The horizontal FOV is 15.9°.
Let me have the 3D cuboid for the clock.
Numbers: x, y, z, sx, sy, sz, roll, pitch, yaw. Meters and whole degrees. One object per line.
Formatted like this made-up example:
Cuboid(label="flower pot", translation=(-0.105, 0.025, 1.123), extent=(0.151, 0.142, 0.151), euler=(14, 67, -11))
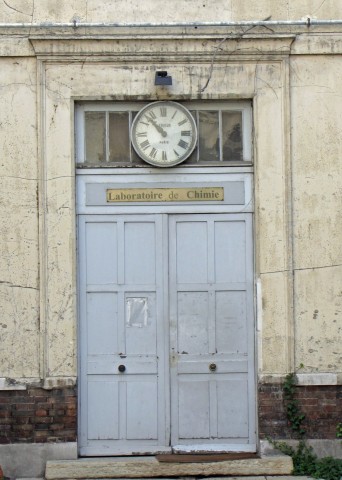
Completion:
Cuboid(label="clock", translation=(-0.069, -1.076, 12.552), extent=(0.635, 0.084, 0.789), euler=(-2, -47, -1))
